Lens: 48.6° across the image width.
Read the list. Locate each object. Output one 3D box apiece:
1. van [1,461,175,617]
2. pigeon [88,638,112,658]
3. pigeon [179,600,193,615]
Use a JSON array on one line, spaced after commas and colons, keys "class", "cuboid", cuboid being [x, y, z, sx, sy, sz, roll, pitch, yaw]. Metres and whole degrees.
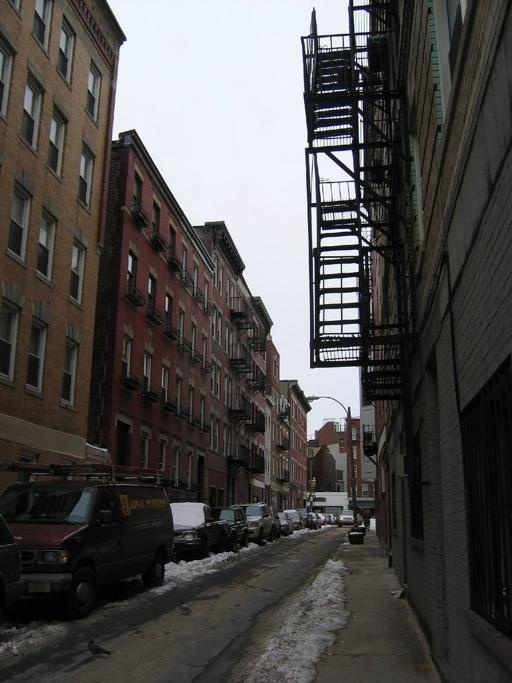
[{"class": "van", "cuboid": [-3.108, 3.486, 10.411, 1.556, 2.637, 4.621, -5, -31, 7]}, {"class": "pigeon", "cuboid": [-1.757, 3.440, 6.380, 0.205, 0.229, 0.099, -11, -20, 8]}, {"class": "pigeon", "cuboid": [-1.151, 4.347, 9.268, 0.110, 0.207, 0.523, 1, -30, -4]}]
